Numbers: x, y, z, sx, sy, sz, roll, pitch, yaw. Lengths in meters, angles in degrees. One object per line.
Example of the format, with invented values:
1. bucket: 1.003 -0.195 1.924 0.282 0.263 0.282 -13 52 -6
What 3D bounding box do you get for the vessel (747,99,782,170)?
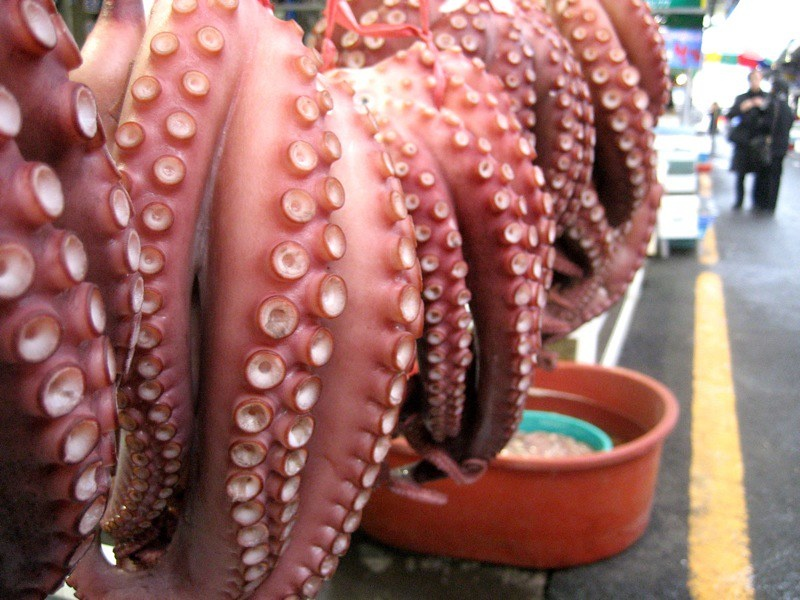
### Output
1. vessel: 3.110 -1.442 6.634 0.166 0.653 0.175 -9 39 12
